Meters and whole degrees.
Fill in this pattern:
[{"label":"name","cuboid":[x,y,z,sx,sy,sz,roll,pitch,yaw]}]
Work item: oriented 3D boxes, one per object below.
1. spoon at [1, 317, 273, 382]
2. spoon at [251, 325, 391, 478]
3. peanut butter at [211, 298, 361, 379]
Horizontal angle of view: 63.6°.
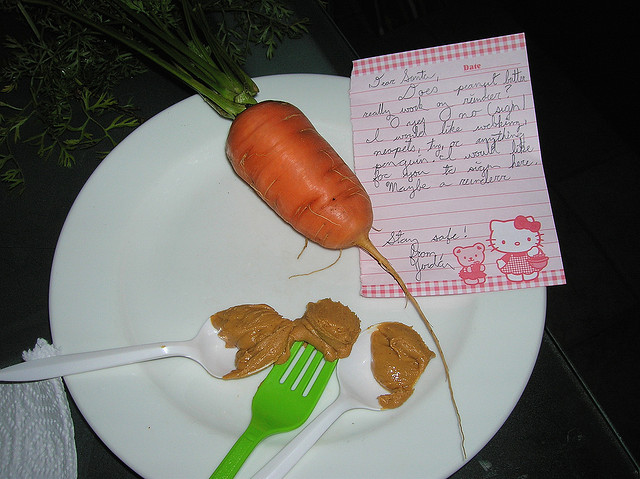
[{"label":"spoon","cuboid":[-0.355,0.268,1.185,0.608,0.056,0.205,-5,75,-18]},{"label":"spoon","cuboid":[0.042,0.374,1.098,0.142,0.107,0.404,32,82,17]},{"label":"peanut butter","cuboid":[-0.068,0.204,1.140,0.288,0.060,0.160,-7,66,-1]}]
